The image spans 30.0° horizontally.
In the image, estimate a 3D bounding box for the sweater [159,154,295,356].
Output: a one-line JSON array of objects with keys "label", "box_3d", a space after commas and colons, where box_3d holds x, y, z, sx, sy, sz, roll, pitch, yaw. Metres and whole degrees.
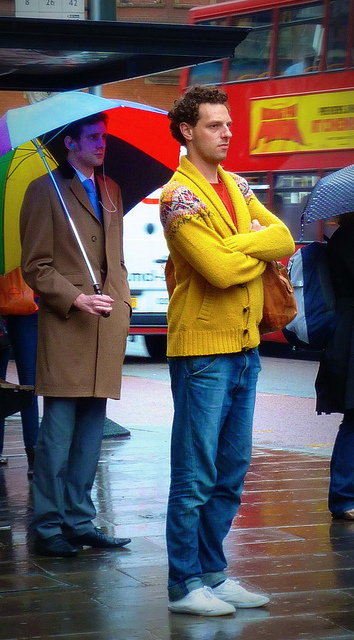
[{"label": "sweater", "box_3d": [0.179, -0.230, 2.426, 0.487, 0.691, 0.521, -1, 19, -10]}]

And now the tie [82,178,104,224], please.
[{"label": "tie", "box_3d": [-0.434, -0.609, 3.410, 0.068, 0.230, 0.040, -7, -16, -30]}]

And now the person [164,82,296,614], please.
[{"label": "person", "box_3d": [0.167, 0.237, 2.454, 0.481, 2.105, 0.819, 2, 19, -1]}]

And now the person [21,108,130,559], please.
[{"label": "person", "box_3d": [-0.519, 0.182, 3.330, 0.568, 2.349, 0.974, 0, 19, -7]}]

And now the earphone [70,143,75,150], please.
[{"label": "earphone", "box_3d": [-0.527, -0.869, 3.319, 0.007, 0.024, 0.018, -20, 42, -21]}]
